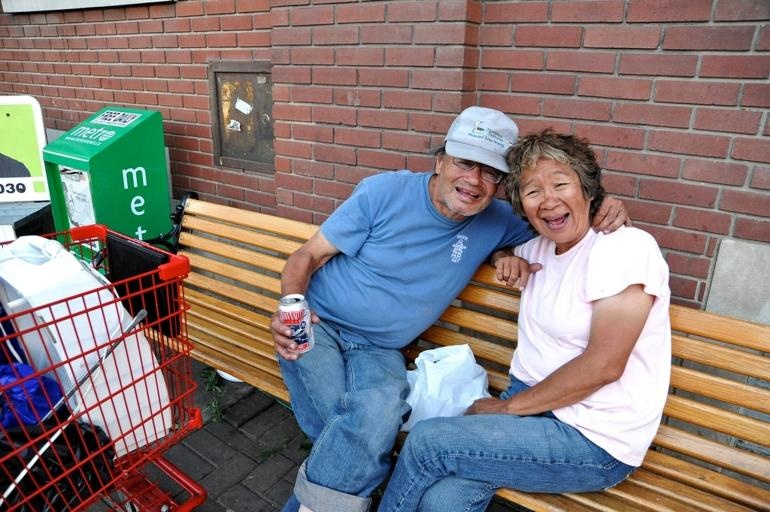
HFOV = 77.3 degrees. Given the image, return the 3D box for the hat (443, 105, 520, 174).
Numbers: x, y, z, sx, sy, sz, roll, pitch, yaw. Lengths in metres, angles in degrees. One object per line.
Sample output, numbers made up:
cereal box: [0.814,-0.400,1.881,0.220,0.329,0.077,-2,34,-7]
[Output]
hat: [0.544,-0.682,2.781,0.342,0.218,0.424,25,23,-10]
